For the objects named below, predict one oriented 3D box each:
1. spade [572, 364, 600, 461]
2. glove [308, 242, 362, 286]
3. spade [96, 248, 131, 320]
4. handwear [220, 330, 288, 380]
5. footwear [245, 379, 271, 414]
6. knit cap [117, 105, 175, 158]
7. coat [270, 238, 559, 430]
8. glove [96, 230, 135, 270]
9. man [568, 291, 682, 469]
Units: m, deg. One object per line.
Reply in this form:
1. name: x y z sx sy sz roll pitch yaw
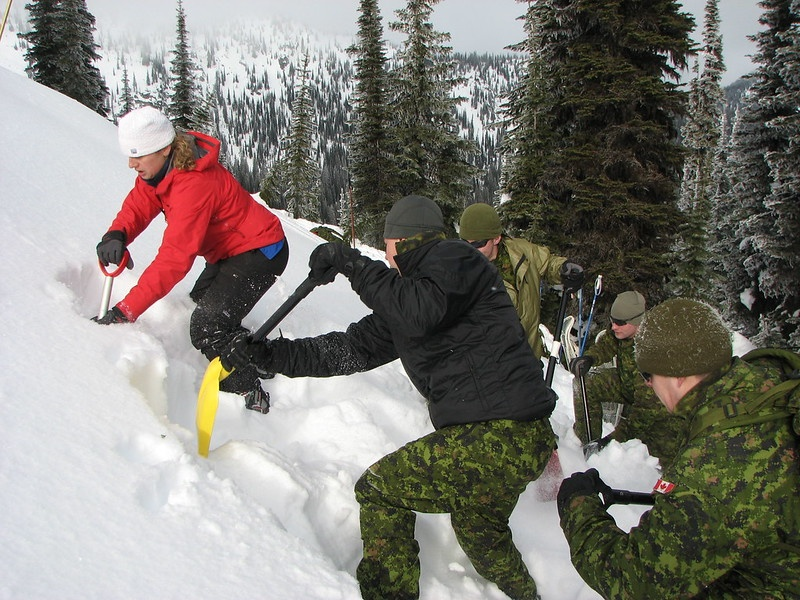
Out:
1. spade: 2.136 1.213 7.498 0.272 1.378 0.380 -7 2 16
2. glove: -0.547 -0.333 5.170 0.387 0.317 0.190 -32 21 38
3. spade: -2.599 -0.163 5.837 0.254 0.588 0.554 1 6 -24
4. handwear: -1.270 0.464 5.529 0.442 0.368 0.239 -18 -4 -17
5. footwear: -1.361 0.930 6.126 0.204 0.324 0.319 2 -4 -9
6. knit cap: -2.215 -1.483 5.626 0.420 0.318 0.446 -13 42 9
7. coat: -0.110 0.382 5.264 2.239 1.587 1.343 -7 -15 -12
8. glove: -2.670 -0.491 6.039 0.269 0.377 0.172 -20 -25 15
9. man: 2.809 1.017 7.608 1.487 2.380 1.025 5 13 31
